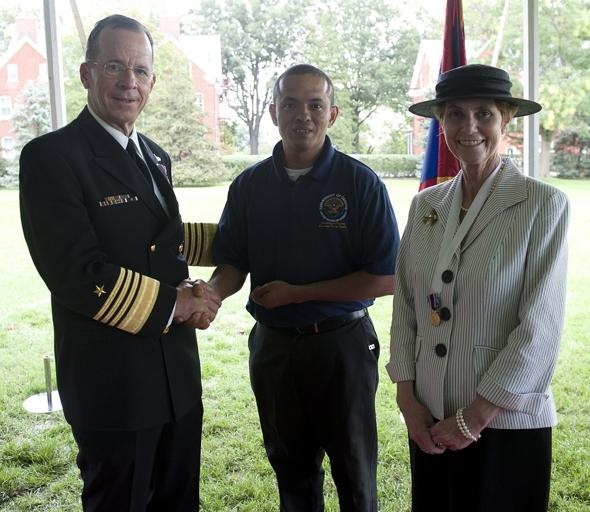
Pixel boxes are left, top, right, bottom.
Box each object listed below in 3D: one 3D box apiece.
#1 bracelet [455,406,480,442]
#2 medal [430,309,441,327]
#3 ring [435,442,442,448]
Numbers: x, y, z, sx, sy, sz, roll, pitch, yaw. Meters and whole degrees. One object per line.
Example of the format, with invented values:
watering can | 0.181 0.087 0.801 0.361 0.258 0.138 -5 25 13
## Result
bracelet | 0.459 0.461 1.403 0.081 0.026 0.071 50 21 18
medal | 0.407 0.177 1.493 0.030 0.039 0.011 2 -10 28
ring | 0.415 0.545 1.494 0.018 0.008 0.013 32 -8 25
